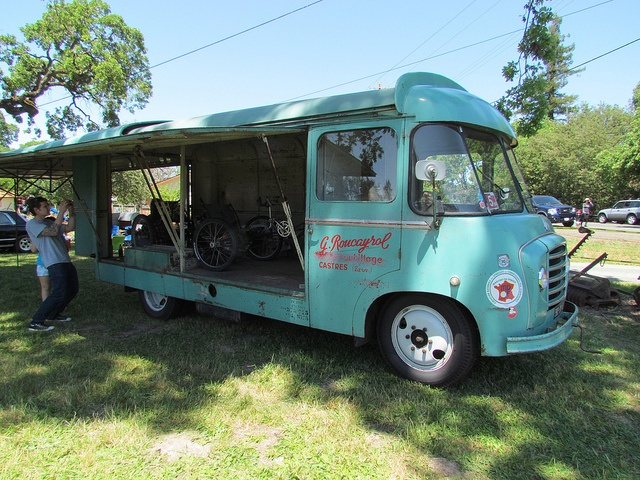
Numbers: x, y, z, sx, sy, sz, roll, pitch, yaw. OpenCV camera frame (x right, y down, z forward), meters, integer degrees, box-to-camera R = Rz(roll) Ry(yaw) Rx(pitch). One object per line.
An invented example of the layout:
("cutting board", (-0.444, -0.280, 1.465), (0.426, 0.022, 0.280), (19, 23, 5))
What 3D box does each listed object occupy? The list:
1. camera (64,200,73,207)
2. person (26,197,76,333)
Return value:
("camera", (-4.036, -0.568, 7.260), (0.128, 0.065, 0.168), (11, 13, -20))
("person", (-4.172, 0.419, 7.156), (0.690, 2.000, 0.750), (1, 14, -39))
